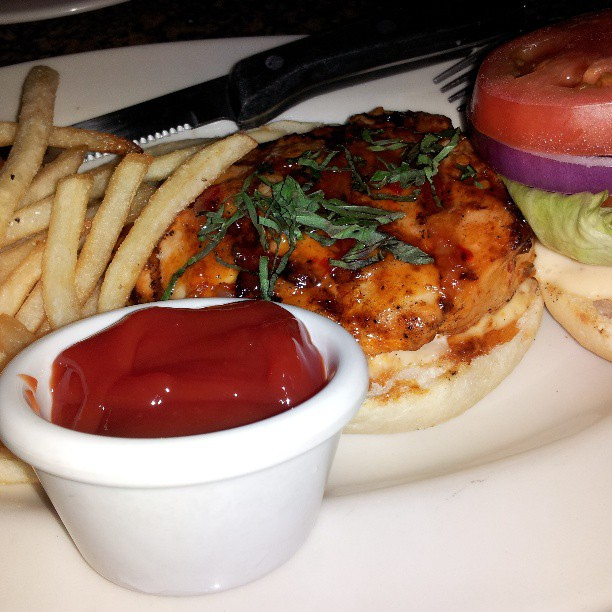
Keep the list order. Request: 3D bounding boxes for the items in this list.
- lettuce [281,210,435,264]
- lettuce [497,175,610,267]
[{"bbox_3d":[0.178,-0.212,2.105,0.479,0.147,0.295,-2,11,2],"label":"lettuce"},{"bbox_3d":[0.932,-0.301,2.466,0.369,0.334,0.125,21,67,46],"label":"lettuce"}]
